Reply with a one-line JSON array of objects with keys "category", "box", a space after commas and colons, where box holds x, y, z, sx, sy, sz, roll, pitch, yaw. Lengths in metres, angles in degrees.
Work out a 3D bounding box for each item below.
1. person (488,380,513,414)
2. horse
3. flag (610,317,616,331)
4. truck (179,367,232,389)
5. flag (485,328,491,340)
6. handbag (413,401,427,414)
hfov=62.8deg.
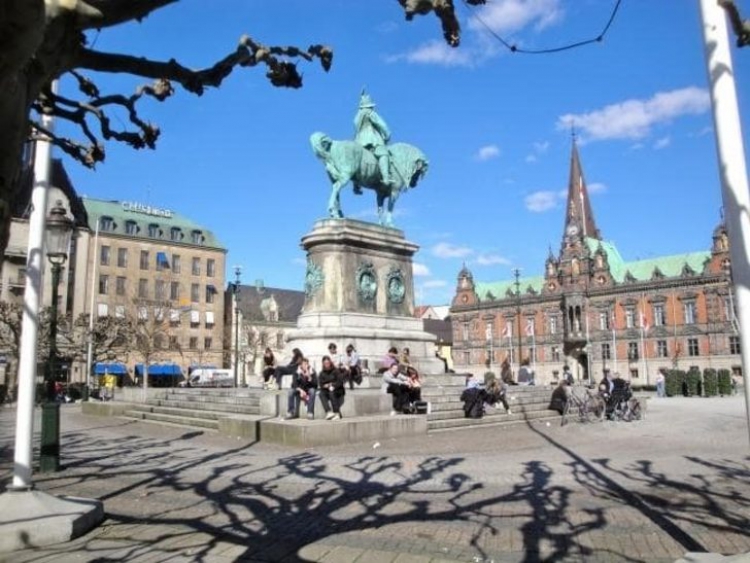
[{"category": "person", "box": [3.834, 3.610, 19.402, 0.579, 1.023, 1.542, -5, -11, 20]}, {"category": "horse", "box": [-0.158, -4.027, 24.406, 5.184, 3.834, 1.586, 6, -4, -35]}, {"category": "flag", "box": [31.317, 5.494, 81.236, 0.600, 2.050, 1.069, -5, -11, 21]}, {"category": "truck", "box": [-15.348, 8.840, 57.524, 3.597, 1.685, 4.556, -11, -15, 40]}, {"category": "flag", "box": [17.796, 8.063, 96.614, 0.617, 1.720, 1.321, 3, -11, -22]}, {"category": "handbag", "box": [1.243, 3.495, 17.173, 0.356, 0.382, 0.288, -2, -11, 6]}]
